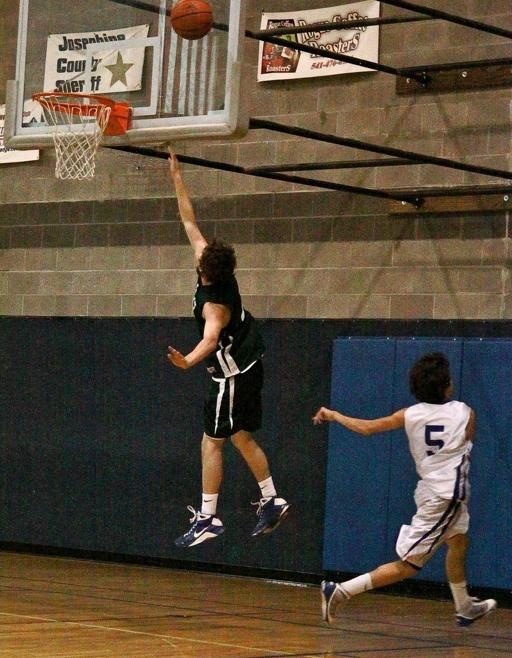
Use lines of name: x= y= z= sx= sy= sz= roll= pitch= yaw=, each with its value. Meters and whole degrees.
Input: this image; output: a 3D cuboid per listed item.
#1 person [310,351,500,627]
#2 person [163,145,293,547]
person: x=0.772 y=0.816 z=5.547 sx=0.684 sy=1.387 sz=0.364 roll=0 pitch=-4 yaw=16
person: x=-0.210 y=0.127 z=6.312 sx=0.592 sy=2.303 sz=1.137 roll=0 pitch=-4 yaw=18
